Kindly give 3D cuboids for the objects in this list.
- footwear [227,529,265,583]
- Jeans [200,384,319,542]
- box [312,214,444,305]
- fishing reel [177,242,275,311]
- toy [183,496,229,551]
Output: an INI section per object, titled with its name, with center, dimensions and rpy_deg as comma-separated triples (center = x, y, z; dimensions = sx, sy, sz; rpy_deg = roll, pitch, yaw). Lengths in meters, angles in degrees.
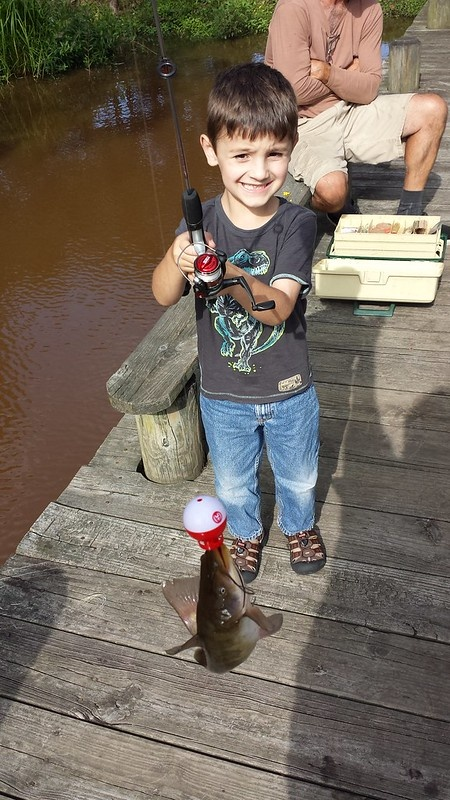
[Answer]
[footwear]
center = 0.073, 0.479, 1.949
dimensions = 0.079, 0.079, 0.198
rpy_deg = -5, 26, 21
[Jeans]
center = 0.114, 0.151, 1.809
dimensions = 0.325, 0.675, 0.219
rpy_deg = -2, 35, 3
[box]
center = 0.822, -0.744, 3.276
dimensions = 0.616, 0.369, 0.590
rpy_deg = 4, 37, 21
[fishing reel]
center = 0.003, -0.244, 1.230
dimensions = 0.140, 0.137, 0.157
rpy_deg = -17, 34, -9
[toy]
center = -0.029, 0.183, 0.955
dimensions = 0.064, 0.082, 0.067
rpy_deg = -4, 29, 16
